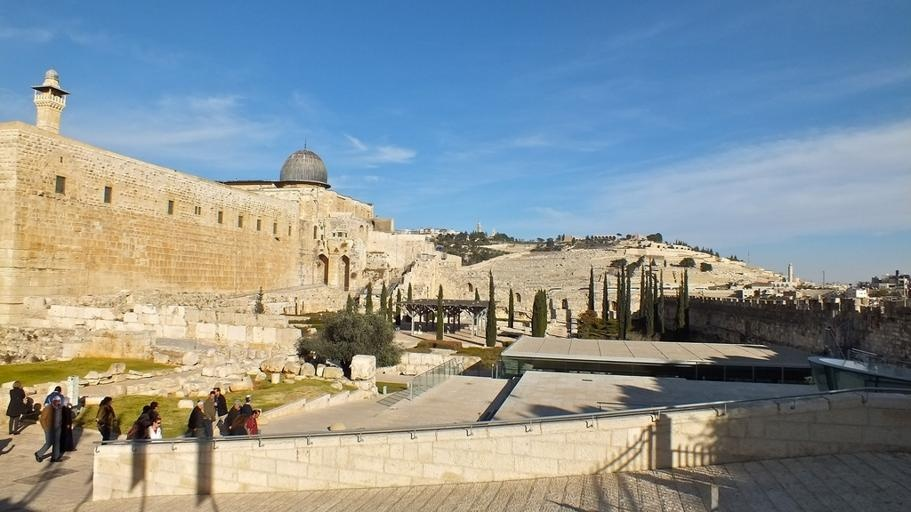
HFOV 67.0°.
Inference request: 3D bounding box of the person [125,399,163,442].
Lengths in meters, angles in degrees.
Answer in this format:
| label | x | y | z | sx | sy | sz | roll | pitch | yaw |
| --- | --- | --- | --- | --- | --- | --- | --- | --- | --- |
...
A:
| label | x | y | z | sx | sy | sz | roll | pitch | yaw |
| --- | --- | --- | --- | --- | --- | --- | --- | --- | --- |
| person | -10.754 | 5.722 | 23.926 | 1.048 | 1.186 | 0.623 | -2 | -6 | 3 |
